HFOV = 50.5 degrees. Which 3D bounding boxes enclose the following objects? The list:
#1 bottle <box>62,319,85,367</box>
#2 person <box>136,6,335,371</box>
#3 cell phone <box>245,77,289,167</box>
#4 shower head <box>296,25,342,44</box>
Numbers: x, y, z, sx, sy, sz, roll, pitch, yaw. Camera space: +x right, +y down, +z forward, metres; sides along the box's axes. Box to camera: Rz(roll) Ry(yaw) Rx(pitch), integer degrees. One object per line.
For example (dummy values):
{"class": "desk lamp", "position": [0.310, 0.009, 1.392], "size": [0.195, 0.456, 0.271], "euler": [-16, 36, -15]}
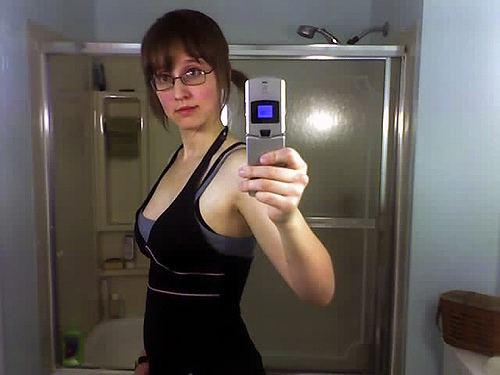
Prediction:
{"class": "bottle", "position": [-0.727, 0.644, 2.174], "size": [0.046, 0.202, 0.078], "euler": [2, 3, -17]}
{"class": "person", "position": [-0.096, 0.037, 1.673], "size": [0.392, 1.197, 0.729], "euler": [-7, 10, -42]}
{"class": "cell phone", "position": [0.046, -0.188, 1.498], "size": [0.114, 0.240, 0.093], "euler": [-1, 7, -5]}
{"class": "shower head", "position": [0.257, -0.565, 1.983], "size": [0.114, 0.045, 0.069], "euler": [11, 4, -19]}
